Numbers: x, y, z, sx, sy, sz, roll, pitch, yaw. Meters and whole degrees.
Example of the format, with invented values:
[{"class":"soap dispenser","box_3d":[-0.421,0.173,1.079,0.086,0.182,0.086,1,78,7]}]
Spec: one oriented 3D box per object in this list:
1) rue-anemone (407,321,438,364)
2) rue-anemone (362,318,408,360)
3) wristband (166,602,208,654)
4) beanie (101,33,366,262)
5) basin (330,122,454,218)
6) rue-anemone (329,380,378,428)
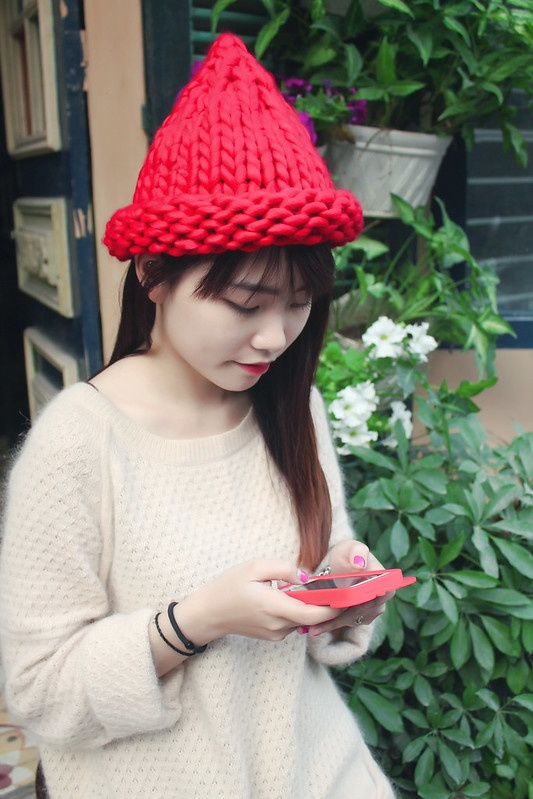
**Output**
[{"class":"rue-anemone","box_3d":[0.313,-0.121,1.618,0.060,0.081,0.060,0,19,-17]},{"class":"rue-anemone","box_3d":[0.240,-0.126,1.599,0.085,0.083,0.029,-4,-10,15]},{"class":"wristband","box_3d":[-0.101,0.276,0.968,0.020,0.061,0.048,-35,0,7]},{"class":"beanie","box_3d":[-0.031,-0.318,1.021,0.345,0.265,0.328,-11,12,-26]},{"class":"basin","box_3d":[0.272,-0.498,1.761,0.234,0.143,0.232,-9,4,1]},{"class":"rue-anemone","box_3d":[0.182,0.010,1.610,0.094,0.095,0.043,18,-17,0]}]
